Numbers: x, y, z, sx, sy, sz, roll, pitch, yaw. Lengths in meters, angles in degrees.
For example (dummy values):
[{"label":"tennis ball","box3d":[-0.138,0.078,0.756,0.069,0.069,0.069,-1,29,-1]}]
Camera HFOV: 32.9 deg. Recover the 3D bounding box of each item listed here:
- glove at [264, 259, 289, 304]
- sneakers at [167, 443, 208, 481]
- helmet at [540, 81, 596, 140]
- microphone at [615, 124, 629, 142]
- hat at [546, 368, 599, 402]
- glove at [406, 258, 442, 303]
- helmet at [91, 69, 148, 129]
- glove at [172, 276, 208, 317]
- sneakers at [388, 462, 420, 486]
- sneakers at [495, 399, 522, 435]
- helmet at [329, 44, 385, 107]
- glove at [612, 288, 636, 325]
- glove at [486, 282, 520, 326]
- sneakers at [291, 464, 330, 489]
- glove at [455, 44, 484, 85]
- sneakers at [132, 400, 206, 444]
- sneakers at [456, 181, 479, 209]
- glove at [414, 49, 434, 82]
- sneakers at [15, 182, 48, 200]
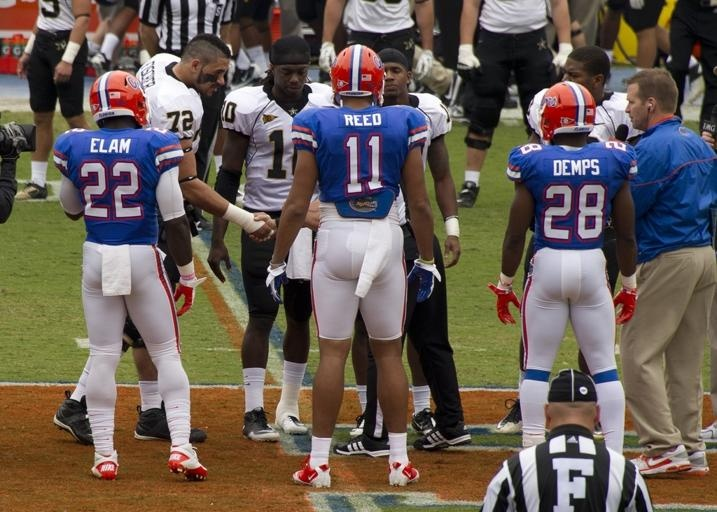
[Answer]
[{"label":"glove","box3d":[-0.504,0.156,7.421,0.105,0.236,0.226,2,8,7]},{"label":"sneakers","box3d":[-1.008,1.207,7.168,0.221,0.236,0.213,-1,13,-8]},{"label":"helmet","box3d":[1.244,-0.844,7.339,0.323,0.434,0.434,-3,7,-15]},{"label":"microphone","box3d":[1.820,-0.853,8.399,0.090,0.124,0.192,4,14,12]},{"label":"hat","box3d":[1.077,0.596,6.043,0.258,0.161,0.385,-5,3,17]},{"label":"glove","box3d":[0.403,0.127,7.545,0.205,0.270,0.110,20,22,23]},{"label":"helmet","box3d":[-1.451,-0.949,7.359,0.304,0.377,0.443,-5,-4,17]},{"label":"glove","box3d":[-1.202,0.290,8.561,0.125,0.252,0.323,2,-35,-33]},{"label":"sneakers","box3d":[0.258,1.284,7.210,0.084,0.101,0.224,2,5,18]},{"label":"sneakers","box3d":[1.019,1.058,8.241,0.166,0.207,0.216,3,14,7]},{"label":"helmet","box3d":[-0.010,-1.103,7.359,0.339,0.404,0.458,5,12,15]},{"label":"glove","box3d":[1.648,0.296,7.526,0.153,0.229,0.064,7,4,10]},{"label":"glove","box3d":[0.936,0.259,7.620,0.078,0.274,0.271,10,28,38]},{"label":"sneakers","box3d":[-0.285,1.280,7.181,0.230,0.127,0.103,7,6,39]},{"label":"glove","box3d":[1.033,-1.815,11.398,0.103,0.343,0.241,-9,-5,-2]},{"label":"sneakers","box3d":[-1.214,1.077,7.804,0.536,0.314,0.188,1,-2,-1]},{"label":"sneakers","box3d":[1.076,-0.601,12.011,0.114,0.157,0.337,10,-28,4]},{"label":"glove","box3d":[0.646,-1.933,12.255,0.239,0.357,0.115,1,2,-18]},{"label":"sneakers","box3d":[-3.178,-0.647,11.906,0.361,0.160,0.128,-3,32,-35]}]
